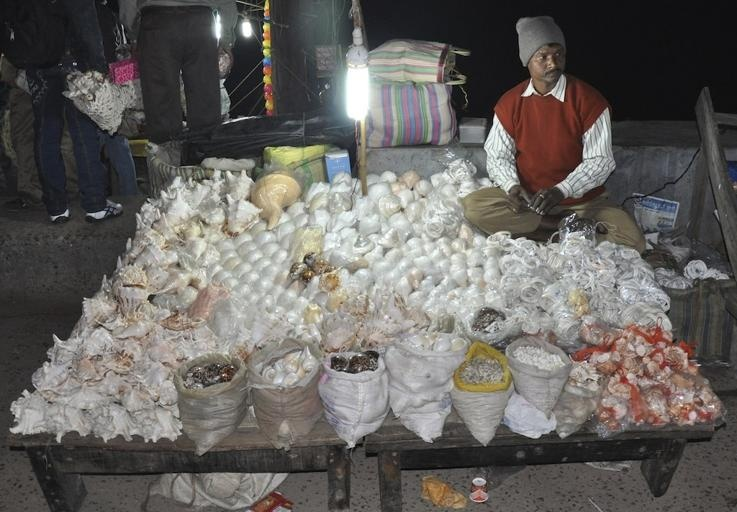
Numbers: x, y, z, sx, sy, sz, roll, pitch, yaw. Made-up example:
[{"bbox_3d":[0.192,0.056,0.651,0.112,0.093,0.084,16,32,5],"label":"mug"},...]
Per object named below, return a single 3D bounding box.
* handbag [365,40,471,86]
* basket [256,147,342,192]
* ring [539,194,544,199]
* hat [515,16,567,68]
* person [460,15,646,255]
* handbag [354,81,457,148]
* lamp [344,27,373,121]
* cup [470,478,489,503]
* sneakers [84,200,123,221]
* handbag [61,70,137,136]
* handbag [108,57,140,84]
[{"bbox_3d":[0.382,-1.947,6.385,0.870,0.345,1.166,0,-1,-3],"label":"handbag"},{"bbox_3d":[-0.620,-0.841,5.696,0.555,0.227,0.456,-6,13,-15],"label":"basket"},{"bbox_3d":[1.394,-0.480,5.152,0.040,0.037,0.022,2,20,12],"label":"ring"},{"bbox_3d":[1.309,-1.811,5.170,0.344,0.380,0.437,-29,42,-18],"label":"hat"},{"bbox_3d":[1.499,-1.045,5.303,1.397,1.752,1.095,1,30,26],"label":"person"},{"bbox_3d":[0.412,-1.523,6.458,1.119,0.531,1.083,7,38,10],"label":"handbag"},{"bbox_3d":[-0.073,-1.353,4.747,0.184,0.668,0.152,-11,21,-23],"label":"lamp"},{"bbox_3d":[0.774,1.605,4.440,0.147,0.153,0.149,-3,19,1],"label":"cup"},{"bbox_3d":[-2.702,-0.468,6.601,0.389,0.192,0.157,-26,43,-37],"label":"sneakers"},{"bbox_3d":[-2.486,-1.394,6.251,0.218,0.401,0.572,26,15,36],"label":"handbag"},{"bbox_3d":[-2.400,-1.829,6.253,0.106,0.189,0.303,8,24,15],"label":"handbag"}]
